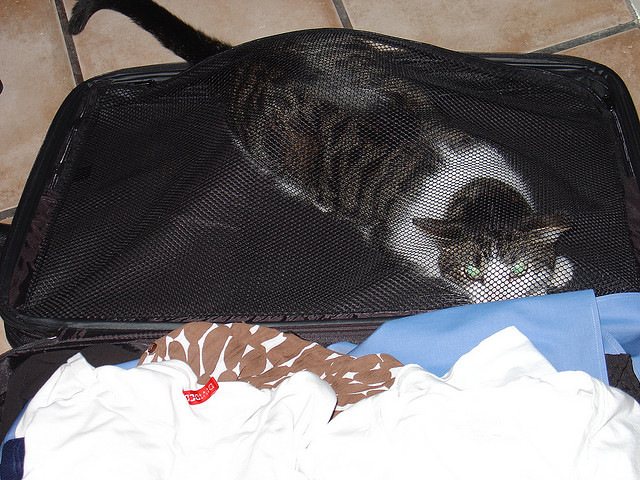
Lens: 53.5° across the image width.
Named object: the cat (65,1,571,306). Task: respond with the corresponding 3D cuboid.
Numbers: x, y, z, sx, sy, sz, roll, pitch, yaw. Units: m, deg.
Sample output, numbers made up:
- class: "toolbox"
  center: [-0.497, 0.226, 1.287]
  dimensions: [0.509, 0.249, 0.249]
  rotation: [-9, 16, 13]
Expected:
- class: "cat"
  center: [0.125, -0.126, 1.198]
  dimensions: [0.993, 0.258, 0.378]
  rotation: [28, 4, -1]
